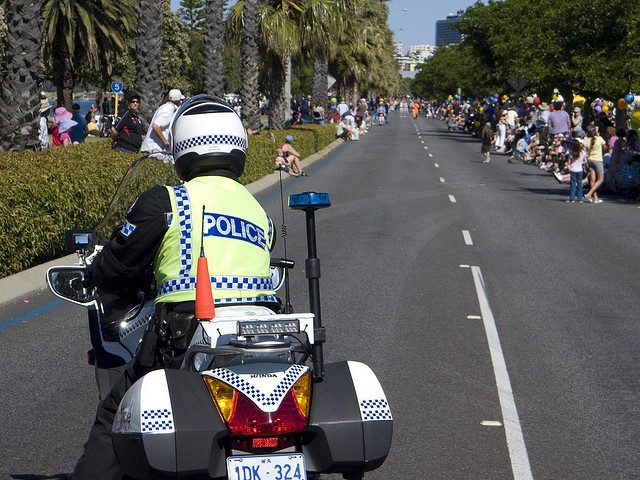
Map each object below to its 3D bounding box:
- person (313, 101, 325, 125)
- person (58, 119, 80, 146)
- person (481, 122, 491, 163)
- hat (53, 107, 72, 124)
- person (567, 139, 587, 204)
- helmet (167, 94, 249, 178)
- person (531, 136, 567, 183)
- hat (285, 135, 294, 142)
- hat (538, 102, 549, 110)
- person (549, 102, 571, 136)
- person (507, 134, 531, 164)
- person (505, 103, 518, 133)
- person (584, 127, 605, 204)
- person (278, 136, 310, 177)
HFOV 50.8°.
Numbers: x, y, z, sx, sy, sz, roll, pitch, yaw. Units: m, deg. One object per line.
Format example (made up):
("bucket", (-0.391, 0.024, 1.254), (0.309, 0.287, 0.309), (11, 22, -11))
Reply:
("person", (-0.021, -8.345, 44.301), (0.759, 1.456, 1.237), (3, 2, -9))
("person", (-6.857, -2.931, 18.352), (0.604, 1.034, 0.441), (-4, 15, -20))
("person", (7.962, -4.676, 32.121), (0.391, 1.791, 2.687), (3, 10, 14))
("hat", (-7.038, -3.431, 18.500), (0.357, 0.204, 0.561), (-12, 17, -4))
("person", (7.323, -1.961, 19.293), (0.400, 1.765, 0.626), (0, 1, 2))
("helmet", (-0.678, -0.671, 4.100), (0.384, 0.584, 0.548), (-5, -2, -19))
("person", (9.396, -3.259, 27.514), (1.217, 2.491, 1.090), (-1, 31, 15))
("hat", (-0.993, -3.218, 21.832), (0.191, 0.186, 0.327), (8, 22, 9))
("hat", (10.255, -6.140, 31.001), (0.349, 0.156, 0.415), (-4, 35, -22))
("person", (9.759, -4.575, 27.474), (0.710, 1.932, 0.579), (-5, -24, 22))
("person", (9.706, -4.447, 32.591), (0.787, 1.278, 2.575), (4, 11, 17))
("person", (10.264, -6.376, 36.015), (0.583, 1.197, 0.872), (4, 9, 18))
("person", (8.153, -2.283, 19.849), (0.546, 2.216, 1.060), (1, 13, 33))
("person", (-0.967, -2.809, 22.889), (0.870, 1.545, 0.533), (-3, -16, -4))
